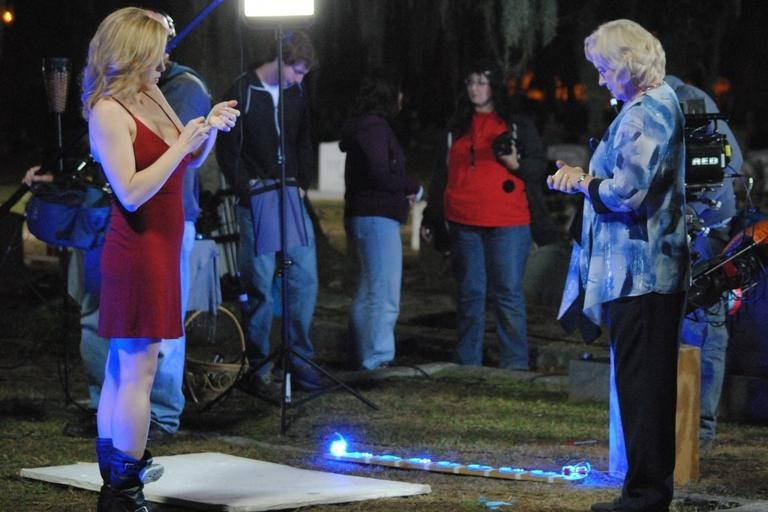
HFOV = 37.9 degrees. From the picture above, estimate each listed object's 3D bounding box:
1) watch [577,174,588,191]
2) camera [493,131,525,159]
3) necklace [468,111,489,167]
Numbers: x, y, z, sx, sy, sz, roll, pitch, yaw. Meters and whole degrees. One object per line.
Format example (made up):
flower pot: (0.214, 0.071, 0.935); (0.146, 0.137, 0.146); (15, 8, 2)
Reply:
watch: (1.114, -0.417, 6.301); (0.059, 0.090, 0.090); (8, 0, 28)
camera: (0.956, -0.862, 8.674); (0.198, 0.110, 0.265); (-3, 6, 9)
necklace: (0.728, -0.904, 8.758); (0.227, 0.294, 0.082); (1, 5, -24)
